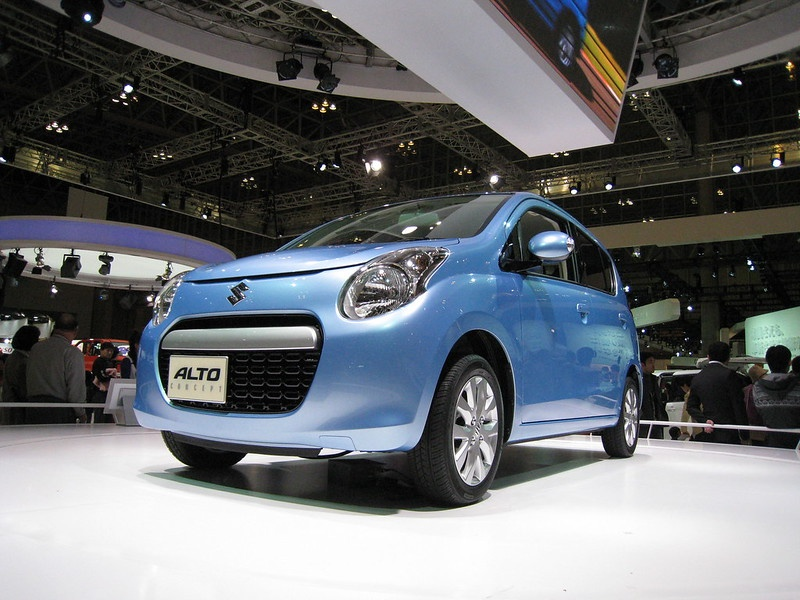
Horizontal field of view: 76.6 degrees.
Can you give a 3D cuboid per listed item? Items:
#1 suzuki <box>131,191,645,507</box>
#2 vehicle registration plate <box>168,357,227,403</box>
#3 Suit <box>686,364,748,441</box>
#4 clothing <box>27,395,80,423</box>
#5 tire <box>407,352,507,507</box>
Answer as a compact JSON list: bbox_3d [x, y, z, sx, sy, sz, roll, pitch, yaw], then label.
[{"bbox_3d":[0.243,0.197,2.863,1.579,1.159,2.499,-9,-18,34],"label":"suzuki"},{"bbox_3d":[-0.864,0.331,2.154,0.355,0.200,0.051,-5,-9,33],"label":"vehicle registration plate"},{"bbox_3d":[3.163,0.929,5.106,0.402,0.606,0.557,6,-10,-41],"label":"Suit"},{"bbox_3d":[-3.157,0.996,4.558,0.328,0.321,0.329,3,-7,-15],"label":"clothing"},{"bbox_3d":[0.223,0.529,2.078,0.162,0.533,0.519,-5,-30,40],"label":"tire"}]
